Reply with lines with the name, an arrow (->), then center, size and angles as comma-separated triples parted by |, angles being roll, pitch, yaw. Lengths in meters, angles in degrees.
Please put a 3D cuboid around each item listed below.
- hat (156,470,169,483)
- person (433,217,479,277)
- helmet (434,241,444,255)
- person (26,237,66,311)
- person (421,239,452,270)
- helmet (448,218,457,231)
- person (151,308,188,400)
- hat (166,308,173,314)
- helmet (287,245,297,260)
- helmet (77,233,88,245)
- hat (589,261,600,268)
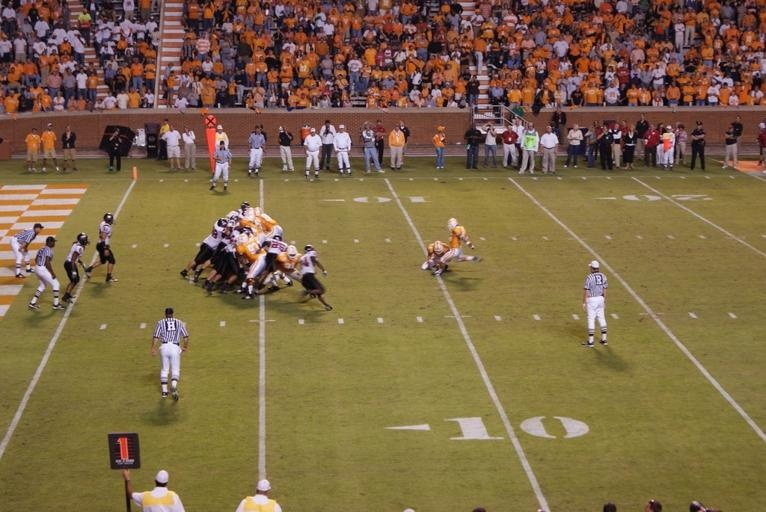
hat -> -4.254, 4.309, 21.156 | 0.256, 0.172, 0.330 | 1, 12, -20
person -> 2.223, -0.155, 33.548 | 1.757, 1.882, 0.886 | 4, 41, 7
helmet -> 1.632, -0.188, 32.256 | 0.273, 0.295, 0.332 | 16, 22, 42
person -> -9.561, 0.642, 31.040 | 1.315, 2.228, 1.039 | -17, 43, -38
person -> 1.575, -0.071, 32.537 | 0.788, 0.884, 0.889 | 0, 45, 1
helmet -> 2.033, -0.909, 32.187 | 0.317, 0.335, 0.366 | -2, 16, 2
person -> -5.071, 2.265, 26.099 | 0.788, 2.176, 1.289 | -2, 17, -11
hat -> -5.003, 1.335, 25.706 | 0.149, 0.138, 0.169 | 0, 1, -11
helmet -> -2.530, -0.098, 30.362 | 0.298, 0.305, 0.356 | 0, 31, -9
helmet -> -8.286, -0.449, 30.185 | 0.267, 0.307, 0.631 | -4, 16, -16
hat -> 5.445, 0.299, 28.229 | 0.287, 0.184, 0.383 | 0, 17, -2
